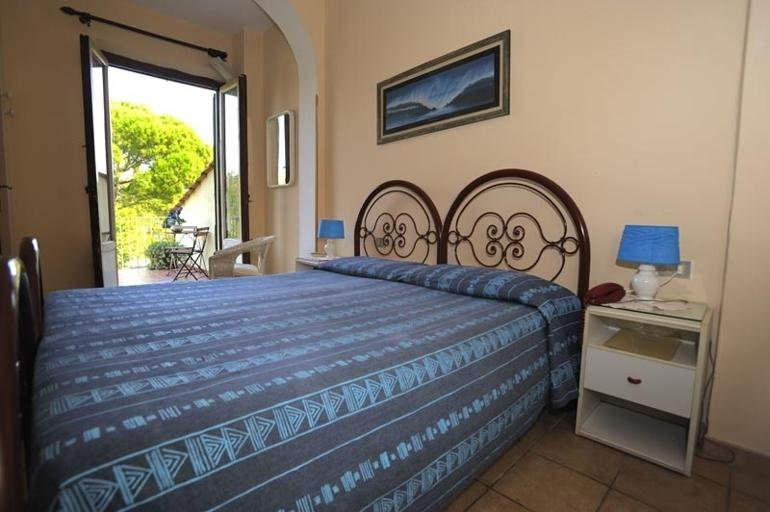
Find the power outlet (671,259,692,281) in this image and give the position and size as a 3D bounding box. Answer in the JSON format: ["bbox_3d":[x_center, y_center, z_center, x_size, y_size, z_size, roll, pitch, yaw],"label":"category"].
[{"bbox_3d":[1.843,0.091,2.945,0.028,0.113,0.118,8,2,-19],"label":"power outlet"}]

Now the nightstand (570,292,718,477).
[{"bbox_3d":[1.560,0.732,3.174,0.819,1.179,0.907,2,1,42],"label":"nightstand"}]

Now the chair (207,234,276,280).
[{"bbox_3d":[-1.541,0.018,5.086,0.529,0.699,0.596,2,5,-15],"label":"chair"}]

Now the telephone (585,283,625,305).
[{"bbox_3d":[1.358,0.233,2.901,0.197,0.069,0.146,-7,9,-16],"label":"telephone"}]

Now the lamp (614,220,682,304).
[{"bbox_3d":[1.615,0.036,2.900,0.328,0.451,0.388,4,6,32],"label":"lamp"}]
